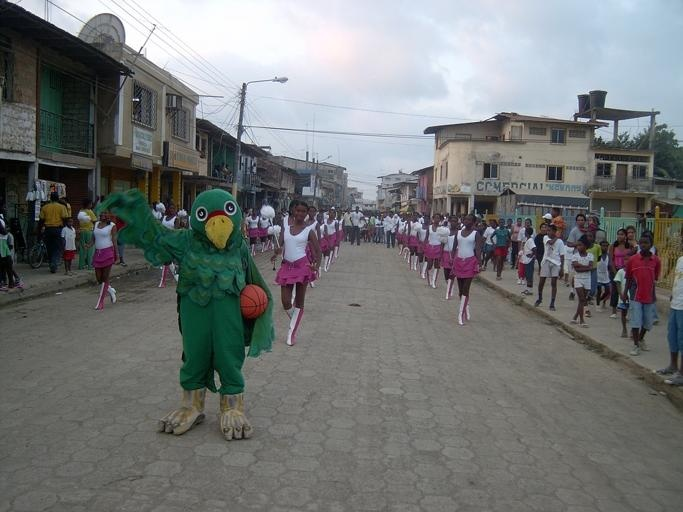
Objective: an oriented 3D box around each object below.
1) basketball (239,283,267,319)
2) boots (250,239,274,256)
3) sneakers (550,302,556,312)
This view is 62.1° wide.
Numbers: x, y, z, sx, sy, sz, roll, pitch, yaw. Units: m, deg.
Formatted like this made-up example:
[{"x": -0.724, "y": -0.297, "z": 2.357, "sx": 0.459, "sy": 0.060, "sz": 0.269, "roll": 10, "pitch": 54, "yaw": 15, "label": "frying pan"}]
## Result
[{"x": -0.878, "y": 0.462, "z": 5.747, "sx": 0.293, "sy": 0.313, "sz": 0.280, "roll": 7, "pitch": -7, "yaw": -37, "label": "basketball"}, {"x": -3.402, "y": -0.331, "z": 24.053, "sx": 0.273, "sy": 0.426, "sz": 1.245, "roll": -14, "pitch": 8, "yaw": 12, "label": "boots"}, {"x": 4.891, "y": 1.178, "z": 13.017, "sx": 0.088, "sy": 0.201, "sz": 0.280, "roll": 0, "pitch": -4, "yaw": 6, "label": "sneakers"}]
